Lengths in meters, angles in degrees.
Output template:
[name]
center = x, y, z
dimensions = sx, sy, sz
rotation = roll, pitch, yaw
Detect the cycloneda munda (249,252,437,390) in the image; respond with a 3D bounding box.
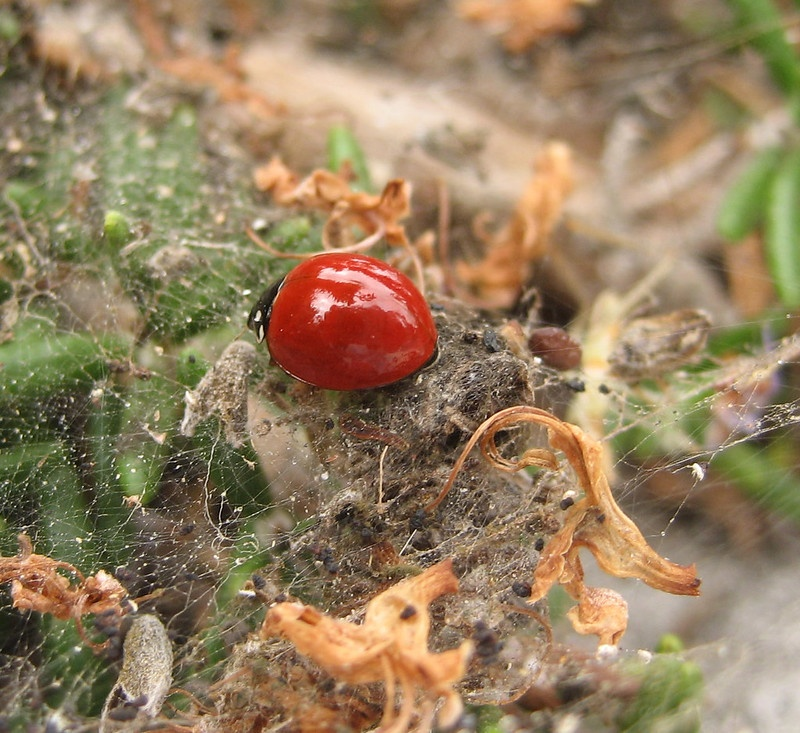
[cycloneda munda]
center = -0.075, -0.070, 1.416
dimensions = 0.264, 0.147, 0.197
rotation = 12, 62, -3
